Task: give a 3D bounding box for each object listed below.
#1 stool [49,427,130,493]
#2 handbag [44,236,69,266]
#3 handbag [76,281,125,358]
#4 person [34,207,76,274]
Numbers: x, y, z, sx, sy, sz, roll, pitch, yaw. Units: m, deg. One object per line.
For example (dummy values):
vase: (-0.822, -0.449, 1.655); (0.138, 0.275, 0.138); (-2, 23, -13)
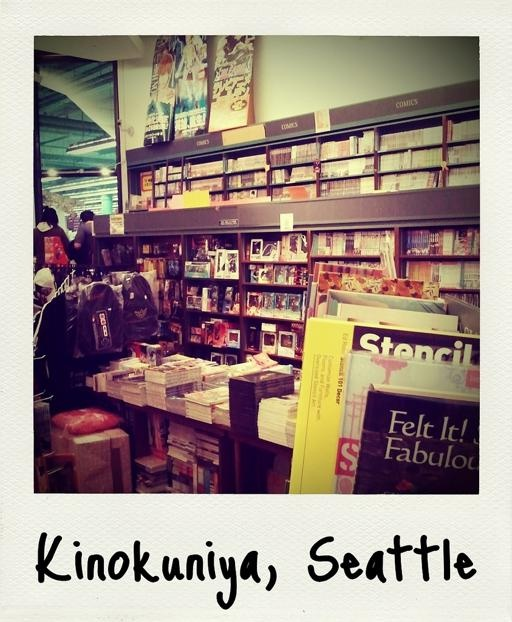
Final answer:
stool: (-0.957, 0.919, 3.017); (0.459, 0.407, 0.272); (0, 6, -28)
handbag: (-2.409, -0.731, 6.141); (0.102, 0.475, 0.469); (3, 3, 16)
handbag: (-1.093, 0.000, 3.688); (0.306, 0.541, 0.256); (-3, 25, -13)
person: (-2.346, -0.882, 5.909); (0.405, 0.684, 1.902); (0, 7, -21)
